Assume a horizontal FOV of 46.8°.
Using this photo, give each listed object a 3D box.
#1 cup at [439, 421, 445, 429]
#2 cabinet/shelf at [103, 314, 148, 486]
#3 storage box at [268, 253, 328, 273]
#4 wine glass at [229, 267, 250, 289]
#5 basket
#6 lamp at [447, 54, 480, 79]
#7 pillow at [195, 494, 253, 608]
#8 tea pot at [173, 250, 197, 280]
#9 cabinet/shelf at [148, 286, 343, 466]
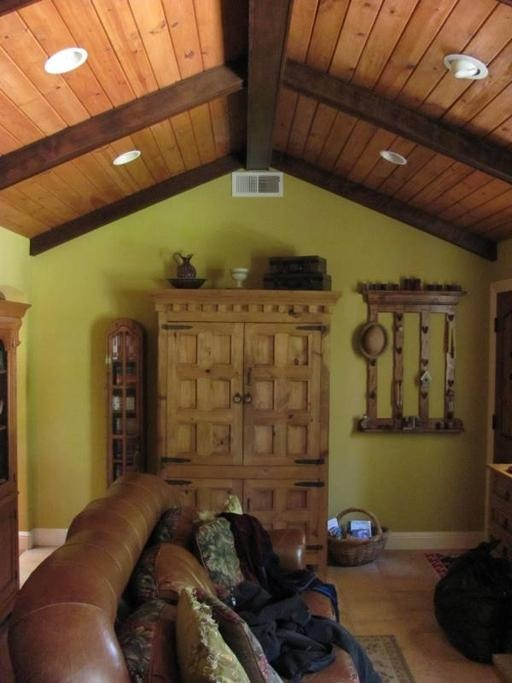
[{"bbox_3d":[1.434,0.645,4.545,0.052,0.084,0.048,3,-10,0],"label":"cup"},{"bbox_3d":[-0.976,0.440,4.367,0.316,1.197,0.215,0,-1,0],"label":"cabinet/shelf"},{"bbox_3d":[0.295,-0.533,4.142,0.385,0.131,0.152,0,-1,1],"label":"storage box"},{"bbox_3d":[-0.105,-0.449,4.299,0.181,0.170,0.169,4,4,12],"label":"wine glass"},{"bbox_3d":[0.745,1.423,4.359,0.428,0.327,0.480,1,-9,7],"label":"basket"},{"bbox_3d":[0.858,-1.129,2.437,0.105,0.042,0.105,7,-11,46],"label":"lamp"},{"bbox_3d":[-0.155,0.904,2.633,0.087,0.273,0.275,-20,24,11],"label":"pillow"},{"bbox_3d":[-0.522,-0.563,4.391,0.174,0.256,0.390,0,-1,-6],"label":"tea pot"},{"bbox_3d":[-0.088,0.235,4.014,1.491,1.309,0.383,0,-2,1],"label":"cabinet/shelf"}]
